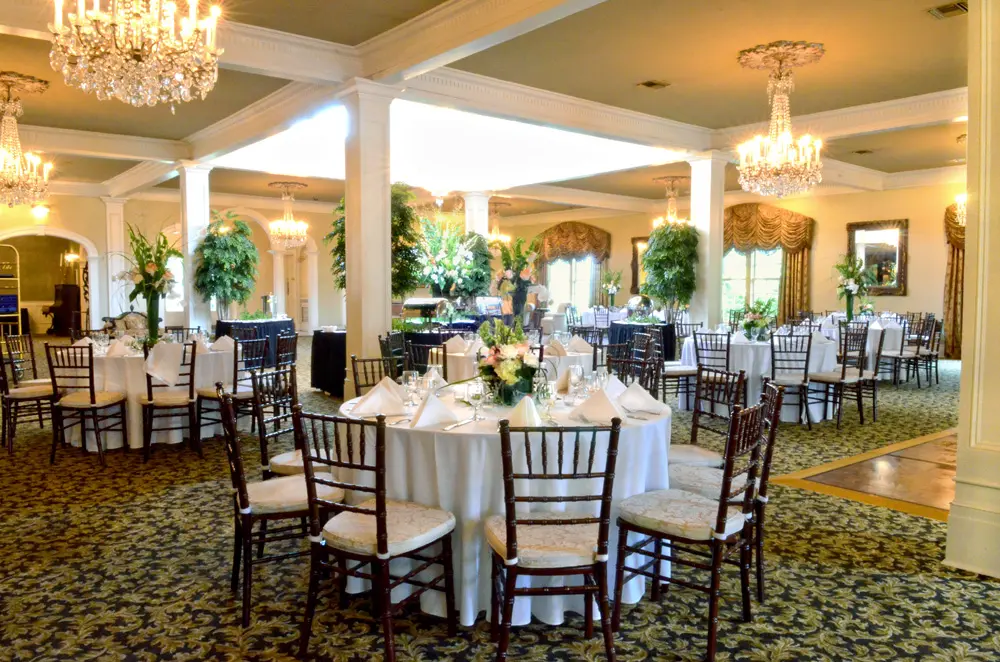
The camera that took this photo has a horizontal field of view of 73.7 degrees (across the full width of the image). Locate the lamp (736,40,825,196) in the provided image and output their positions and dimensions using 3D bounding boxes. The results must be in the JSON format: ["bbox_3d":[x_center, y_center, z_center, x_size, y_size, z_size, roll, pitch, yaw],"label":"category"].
[{"bbox_3d":[3.610,-2.538,8.389,0.996,1.875,1.018,-1,6,-7],"label":"lamp"}]

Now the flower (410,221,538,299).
[{"bbox_3d":[-0.183,-1.185,9.782,1.450,1.095,1.624,0,1,24],"label":"flower"}]

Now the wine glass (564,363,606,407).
[{"bbox_3d":[0.651,0.424,5.264,0.333,0.305,0.285,1,2,17],"label":"wine glass"}]

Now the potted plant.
[{"bbox_3d":[3.021,-0.762,11.661,0.835,2.540,0.699,1,5,18],"label":"potted plant"}]

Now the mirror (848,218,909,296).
[{"bbox_3d":[8.604,-1.580,15.192,1.484,1.946,0.198,14,5,4],"label":"mirror"}]
